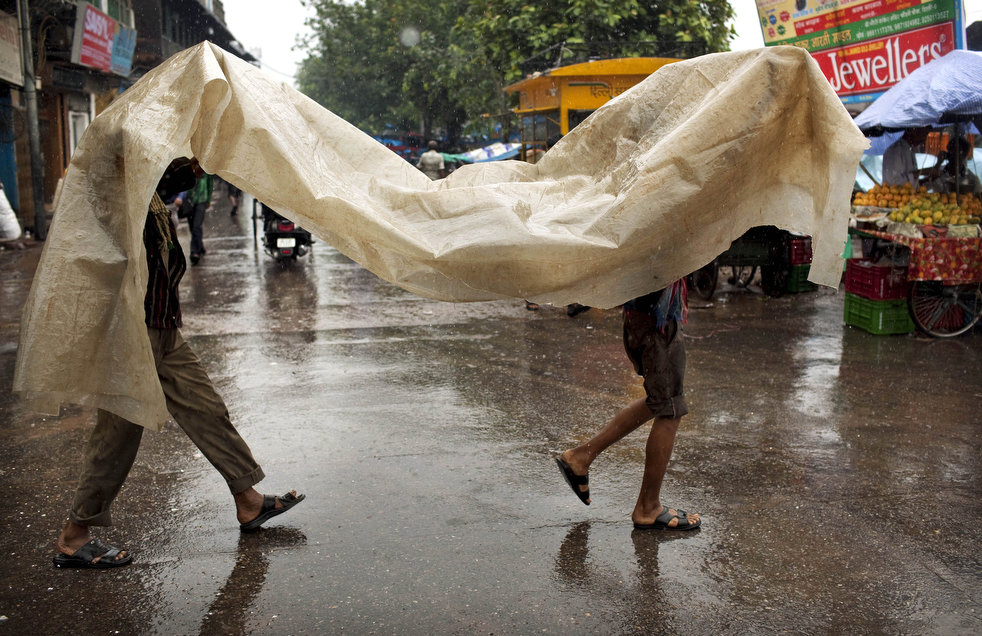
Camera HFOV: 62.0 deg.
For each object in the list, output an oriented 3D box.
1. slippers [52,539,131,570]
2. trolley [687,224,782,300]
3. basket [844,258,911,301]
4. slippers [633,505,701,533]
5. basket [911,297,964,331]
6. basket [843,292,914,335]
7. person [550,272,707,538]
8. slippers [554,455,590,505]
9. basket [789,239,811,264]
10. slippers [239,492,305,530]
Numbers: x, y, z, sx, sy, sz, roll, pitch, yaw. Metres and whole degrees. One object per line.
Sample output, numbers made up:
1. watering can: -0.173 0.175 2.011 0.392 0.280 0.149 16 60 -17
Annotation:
1. slippers: -2.333 1.387 4.779 0.370 0.139 0.183 0 2 -13
2. trolley: 3.533 -0.793 11.668 1.025 1.426 1.606 -1 12 -7
3. basket: 4.564 -0.488 9.746 0.536 0.309 0.529 -5 11 -32
4. slippers: 1.125 1.290 5.187 0.338 0.096 0.170 -3 10 3
5. basket: 5.210 -0.022 9.410 0.514 0.455 0.154 3 0 0
6. basket: 4.629 -0.023 9.685 0.496 0.323 0.650 3 7 -6
7. person: 0.942 0.533 5.164 0.856 1.561 0.397 4 14 15
8. slippers: 0.562 1.072 5.410 0.129 0.424 0.150 -25 14 9
9. basket: 4.434 -0.958 11.699 0.276 0.418 0.321 6 15 23
10. slippers: -1.385 1.214 5.244 0.418 0.132 0.158 -26 21 -32
